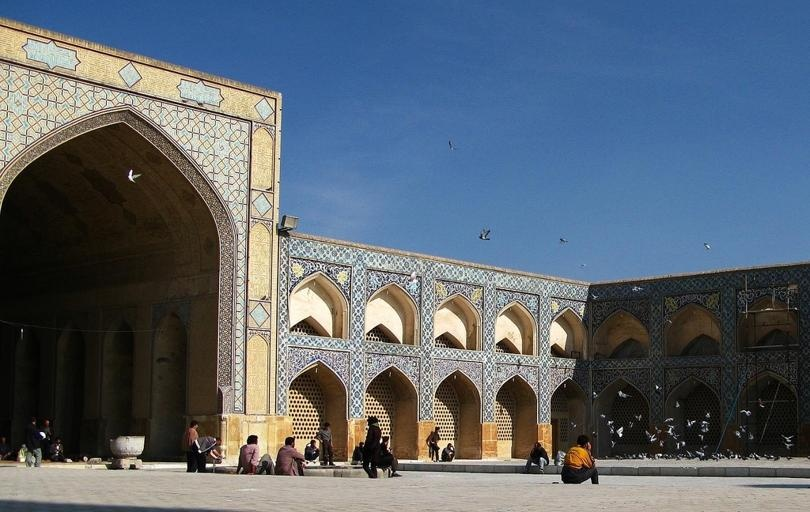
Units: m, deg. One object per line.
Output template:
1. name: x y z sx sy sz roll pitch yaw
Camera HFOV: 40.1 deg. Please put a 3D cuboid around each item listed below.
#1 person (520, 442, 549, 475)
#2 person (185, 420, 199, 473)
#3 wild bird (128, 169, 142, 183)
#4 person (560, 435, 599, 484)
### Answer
1. person: 2.767 4.377 23.919 0.639 0.732 0.562 19 -29 -33
2. person: -4.238 3.828 22.039 0.281 0.991 0.860 4 -18 -10
3. wild bird: -6.400 -1.838 25.951 0.326 0.253 0.181 -5 18 15
4. person: 3.027 3.582 19.416 0.604 0.899 0.939 -2 -18 8
